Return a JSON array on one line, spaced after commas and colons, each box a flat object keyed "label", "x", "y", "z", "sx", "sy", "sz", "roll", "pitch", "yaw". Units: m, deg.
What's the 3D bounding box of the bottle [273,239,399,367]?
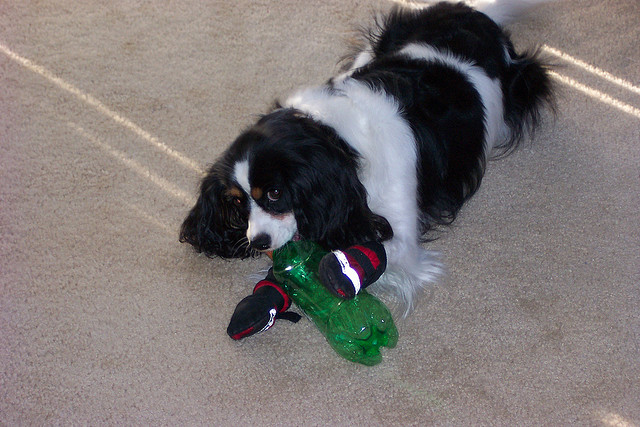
[{"label": "bottle", "x": 0.093, "y": 0.402, "z": 3.327, "sx": 0.417, "sy": 0.317, "sz": 0.811, "roll": -39, "pitch": 72, "yaw": 1}]

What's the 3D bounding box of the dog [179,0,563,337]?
[{"label": "dog", "x": 0.430, "y": -0.198, "z": 3.584, "sx": 2.162, "sy": 0.878, "sz": 1.401, "roll": -44, "pitch": 47, "yaw": -11}]
